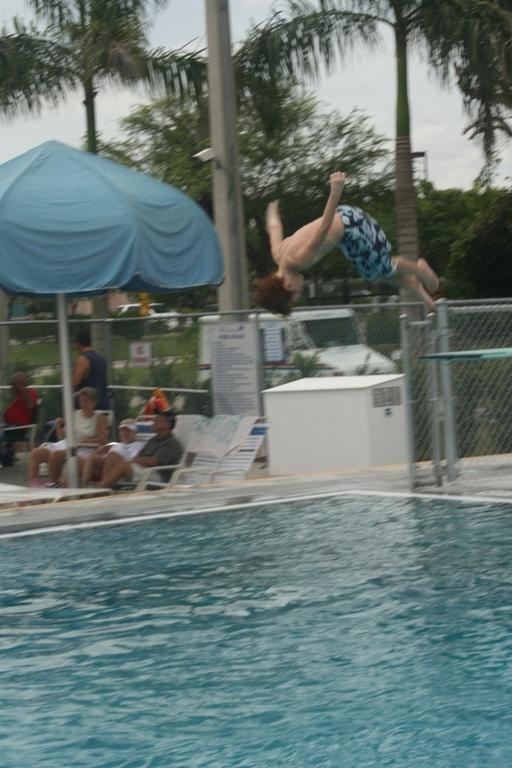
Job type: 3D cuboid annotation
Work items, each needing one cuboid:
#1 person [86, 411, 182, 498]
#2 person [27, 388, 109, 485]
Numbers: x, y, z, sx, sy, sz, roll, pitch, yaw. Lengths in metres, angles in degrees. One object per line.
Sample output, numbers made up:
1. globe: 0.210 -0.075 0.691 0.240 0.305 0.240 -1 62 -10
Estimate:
1. person: -1.255 0.733 9.438 0.866 1.001 0.530 18 -12 -33
2. person: -2.089 0.665 9.777 0.548 1.221 0.878 7 -1 36
